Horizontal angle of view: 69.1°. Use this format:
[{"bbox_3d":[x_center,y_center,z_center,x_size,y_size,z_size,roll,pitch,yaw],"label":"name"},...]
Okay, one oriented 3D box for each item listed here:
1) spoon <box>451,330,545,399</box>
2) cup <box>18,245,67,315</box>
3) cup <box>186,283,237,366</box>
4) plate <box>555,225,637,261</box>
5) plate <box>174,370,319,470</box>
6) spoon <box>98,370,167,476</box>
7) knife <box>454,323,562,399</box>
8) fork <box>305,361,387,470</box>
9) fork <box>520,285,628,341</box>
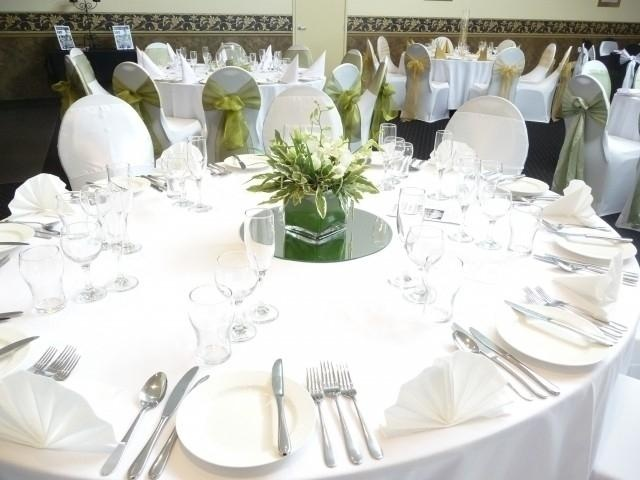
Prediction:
[{"bbox_3d":[0.415,0.287,1.152,0.071,0.044,0.279,7,22,-38],"label":"spoon"},{"bbox_3d":[-0.761,0.115,1.276,0.085,0.160,0.097,23,34,24],"label":"cup"},{"bbox_3d":[-0.262,0.213,1.138,0.099,0.189,0.115,6,32,1],"label":"cup"},{"bbox_3d":[0.952,0.017,1.602,0.143,0.019,0.166,-3,27,2],"label":"plate"},{"bbox_3d":[-0.154,0.372,0.973,0.282,0.069,0.212,-5,26,-11],"label":"plate"},{"bbox_3d":[-0.381,0.367,0.964,0.037,0.028,0.226,8,32,5],"label":"spoon"},{"bbox_3d":[0.438,0.295,1.134,0.084,0.035,0.299,-3,22,-30],"label":"knife"},{"bbox_3d":[0.039,0.359,1.034,0.073,0.031,0.267,-2,36,-12],"label":"fork"},{"bbox_3d":[0.698,0.205,1.266,0.034,0.041,0.249,-22,31,-22],"label":"fork"}]
